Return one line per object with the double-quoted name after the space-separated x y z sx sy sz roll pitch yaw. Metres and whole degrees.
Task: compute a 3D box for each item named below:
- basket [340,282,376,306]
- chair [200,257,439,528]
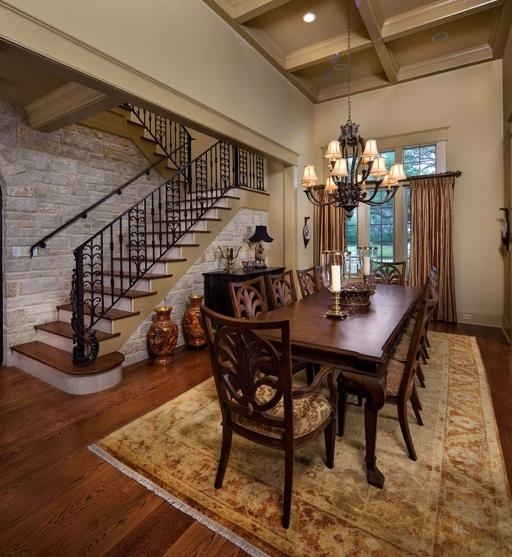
0.782 0.117 3.272 0.210 0.097 0.211 -1 7 5 "basket"
0.404 0.474 2.550 0.789 0.774 1.406 3 10 27 "chair"
